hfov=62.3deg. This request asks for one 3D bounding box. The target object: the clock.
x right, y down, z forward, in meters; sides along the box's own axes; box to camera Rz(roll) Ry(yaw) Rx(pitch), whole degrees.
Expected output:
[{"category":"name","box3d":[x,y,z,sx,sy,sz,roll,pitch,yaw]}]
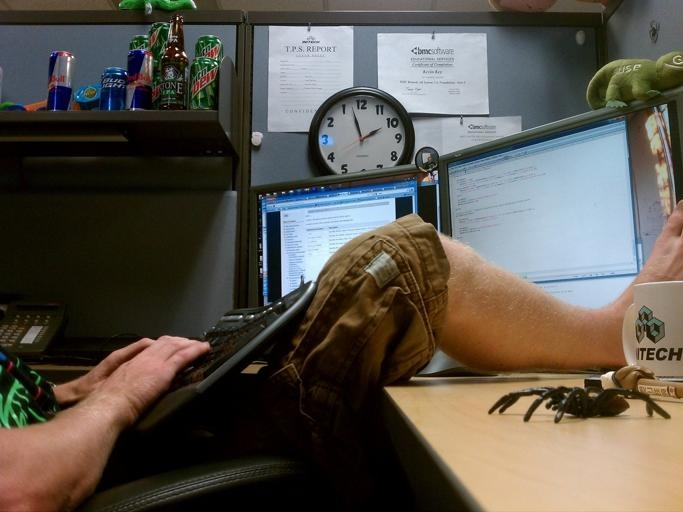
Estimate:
[{"category":"clock","box3d":[0.053,-0.312,1.445,0.249,0.261,0.037,0,-3,1]}]

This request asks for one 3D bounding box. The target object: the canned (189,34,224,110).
[{"category":"canned","box3d":[-0.321,-0.433,1.333,0.080,0.169,0.109,-5,13,-10]}]

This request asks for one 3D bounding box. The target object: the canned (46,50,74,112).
[{"category":"canned","box3d":[-0.671,-0.417,1.339,0.070,0.148,0.186,-8,14,-21]}]

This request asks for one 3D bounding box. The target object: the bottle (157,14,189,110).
[{"category":"bottle","box3d":[-0.402,-0.459,1.349,0.071,0.219,0.189,-5,13,-7]}]
